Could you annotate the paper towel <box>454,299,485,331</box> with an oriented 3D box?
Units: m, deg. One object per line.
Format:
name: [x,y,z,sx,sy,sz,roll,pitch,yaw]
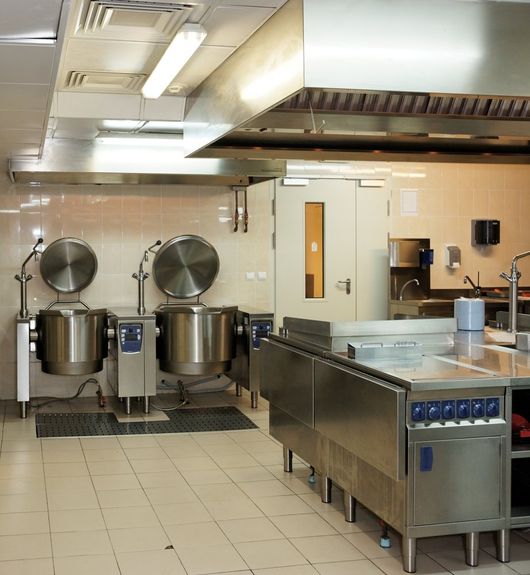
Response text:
paper towel: [1.476,0.190,4.025,0.307,0.279,0.275,0,1,13]
